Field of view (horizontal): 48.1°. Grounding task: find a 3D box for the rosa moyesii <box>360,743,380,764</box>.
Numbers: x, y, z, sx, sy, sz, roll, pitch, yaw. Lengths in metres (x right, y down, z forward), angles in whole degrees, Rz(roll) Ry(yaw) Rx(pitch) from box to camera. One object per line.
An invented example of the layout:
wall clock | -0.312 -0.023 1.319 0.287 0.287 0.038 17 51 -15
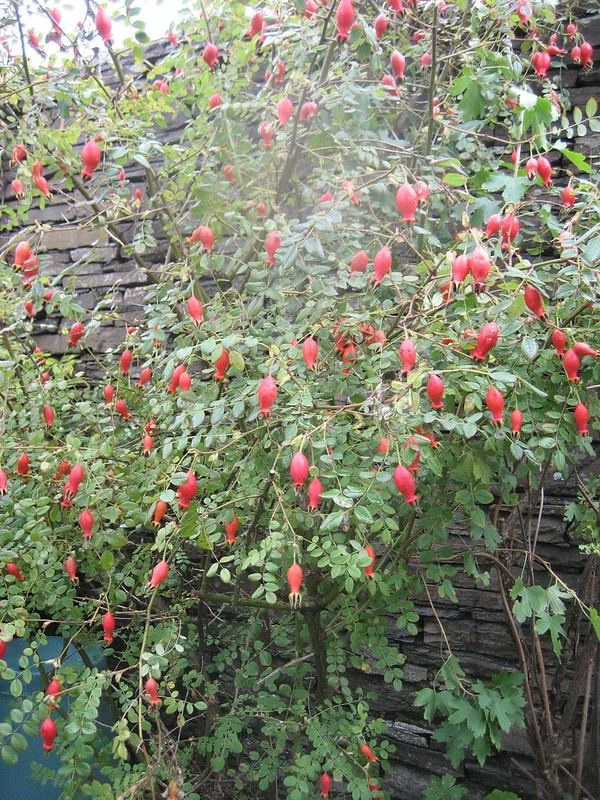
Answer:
rosa moyesii | 0.151 0.776 1.488 0.026 0.053 0.025 -34 -28 -14
